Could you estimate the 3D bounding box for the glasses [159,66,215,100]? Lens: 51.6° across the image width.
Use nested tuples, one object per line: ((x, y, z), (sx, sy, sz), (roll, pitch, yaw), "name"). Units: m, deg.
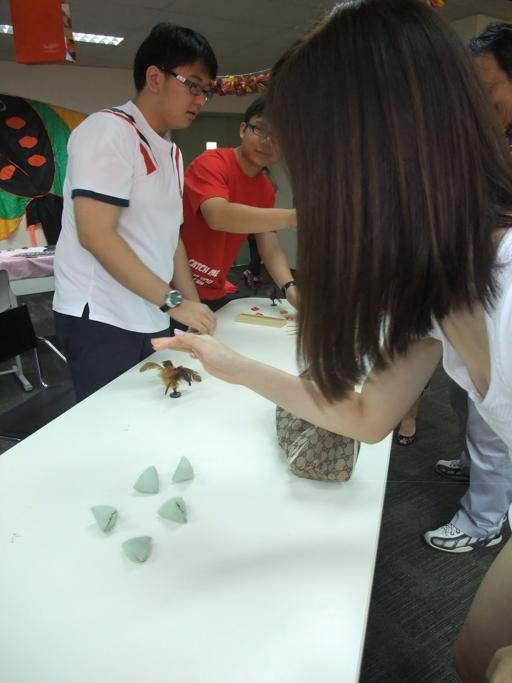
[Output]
((-0.152, -0.585, 1.212), (0.070, 0.020, 0.067), (34, 24, 14), "glasses")
